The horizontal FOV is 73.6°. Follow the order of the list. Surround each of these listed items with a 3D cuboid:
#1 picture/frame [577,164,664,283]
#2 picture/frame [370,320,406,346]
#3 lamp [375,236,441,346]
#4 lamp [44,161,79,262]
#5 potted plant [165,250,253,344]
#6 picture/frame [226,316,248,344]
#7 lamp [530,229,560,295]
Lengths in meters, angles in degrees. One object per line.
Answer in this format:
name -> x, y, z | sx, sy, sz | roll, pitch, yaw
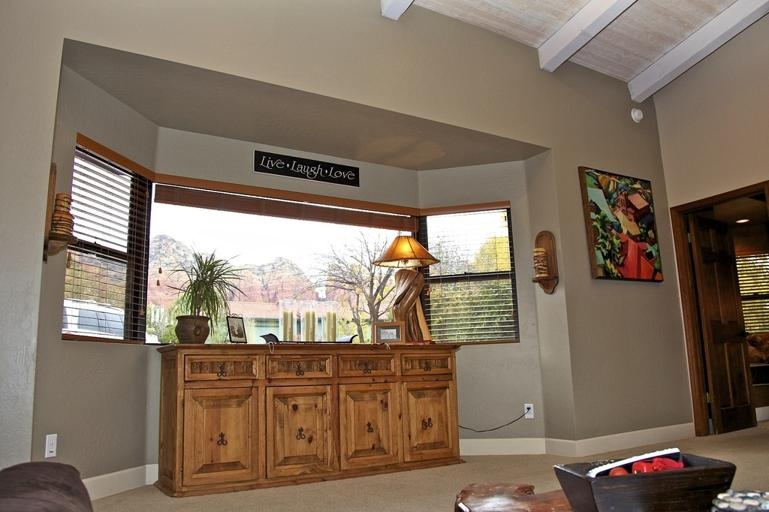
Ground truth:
picture/frame -> 2.654, -0.343, 5.765 | 1.137, 1.224, 0.110 | 2, -12, -27
picture/frame -> 0.045, 0.749, 5.021 | 0.258, 0.188, 0.034 | 0, -19, -5
lamp -> 0.249, 0.285, 5.295 | 0.638, 1.197, 0.661 | -5, -11, 10
lamp -> -2.409, -0.280, 3.834 | 0.197, 0.607, 0.212 | 4, -13, -33
potted plant -> -1.588, 0.345, 4.669 | 0.682, 0.885, 0.662 | 1, -11, -23
picture/frame -> -1.350, 0.668, 4.669 | 0.020, 0.286, 0.269 | -22, -20, 21
lamp -> 1.686, 0.055, 5.418 | 0.262, 0.689, 0.207 | -11, -13, 37
